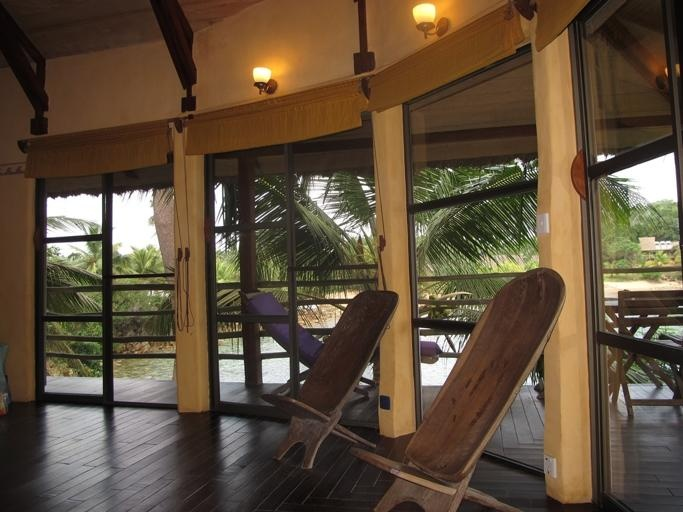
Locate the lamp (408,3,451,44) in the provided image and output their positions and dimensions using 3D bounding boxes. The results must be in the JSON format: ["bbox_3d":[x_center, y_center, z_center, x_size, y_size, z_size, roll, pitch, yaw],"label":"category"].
[{"bbox_3d":[0.697,-1.856,4.476,0.328,0.316,0.218,7,-9,-42],"label":"lamp"}]

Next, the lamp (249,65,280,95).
[{"bbox_3d":[-0.720,-1.644,5.271,0.200,0.274,0.288,-6,-24,20],"label":"lamp"}]
